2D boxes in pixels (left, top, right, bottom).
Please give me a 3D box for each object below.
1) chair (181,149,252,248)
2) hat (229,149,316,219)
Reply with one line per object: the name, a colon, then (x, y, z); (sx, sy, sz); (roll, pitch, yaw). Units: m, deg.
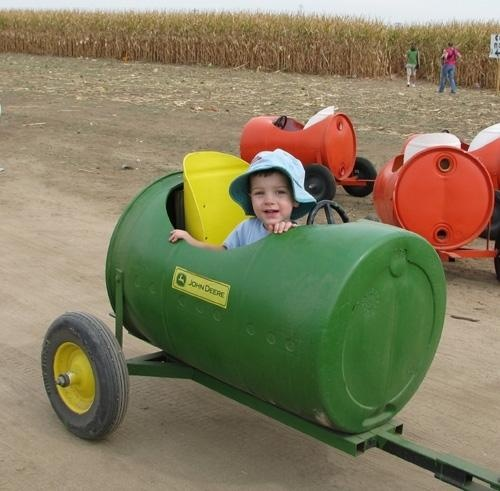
chair: (-0.179, -0.217, 3.588); (0.406, 0.552, 0.300); (-13, 12, -39)
hat: (0.107, -0.267, 3.187); (0.381, 0.336, 0.315); (5, 12, 14)
